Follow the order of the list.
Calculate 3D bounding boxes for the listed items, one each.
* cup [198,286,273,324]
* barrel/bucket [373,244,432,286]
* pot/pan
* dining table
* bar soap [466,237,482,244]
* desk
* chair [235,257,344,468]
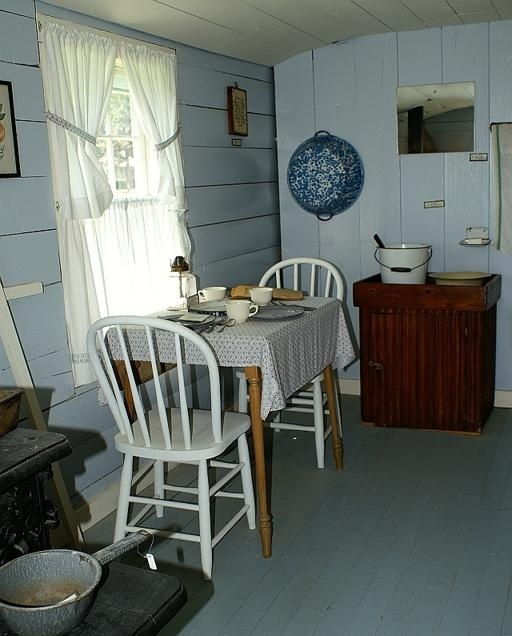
[{"bbox_3d":[-0.107,-0.061,2.175,0.197,0.084,0.138,3,18,31],"label":"cup"},{"bbox_3d":[0.873,-0.363,3.088,0.310,0.273,0.328,-5,21,2],"label":"barrel/bucket"},{"bbox_3d":[0.514,-1.126,3.540,0.481,0.555,0.140,30,64,19],"label":"pot/pan"},{"bbox_3d":[-0.096,0.468,2.394,1.073,0.932,1.264,-3,8,5],"label":"dining table"},{"bbox_3d":[1.347,-0.522,3.168,0.056,0.016,0.087,4,18,9],"label":"bar soap"},{"bbox_3d":[1.057,0.219,3.197,0.752,0.971,0.584,1,11,32],"label":"desk"},{"bbox_3d":[0.207,0.259,2.850,0.559,1.255,0.548,1,7,28],"label":"chair"}]
